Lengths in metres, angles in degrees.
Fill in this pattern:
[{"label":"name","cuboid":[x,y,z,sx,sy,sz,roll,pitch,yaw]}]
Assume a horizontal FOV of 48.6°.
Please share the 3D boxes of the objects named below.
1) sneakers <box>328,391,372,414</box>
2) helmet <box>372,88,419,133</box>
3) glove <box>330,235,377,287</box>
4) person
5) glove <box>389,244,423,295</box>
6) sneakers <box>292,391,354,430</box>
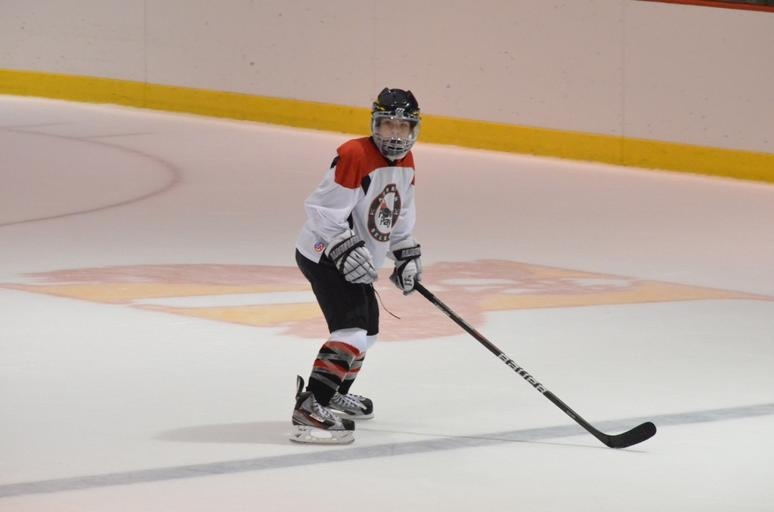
[{"label":"sneakers","cuboid":[-0.175,0.689,4.061,0.203,0.059,0.087,3,11,14]},{"label":"helmet","cuboid":[0.036,-0.692,4.024,0.215,0.191,0.218,3,13,-1]},{"label":"glove","cuboid":[-0.141,0.012,3.892,0.182,0.240,0.104,-36,6,4]},{"label":"person","cuboid":[-0.139,0.026,3.923,0.588,1.613,0.637,6,-24,2]},{"label":"glove","cuboid":[0.098,0.055,4.223,0.132,0.211,0.194,5,5,7]},{"label":"sneakers","cuboid":[-0.239,0.709,3.924,0.407,0.164,0.114,3,-2,-2]}]
